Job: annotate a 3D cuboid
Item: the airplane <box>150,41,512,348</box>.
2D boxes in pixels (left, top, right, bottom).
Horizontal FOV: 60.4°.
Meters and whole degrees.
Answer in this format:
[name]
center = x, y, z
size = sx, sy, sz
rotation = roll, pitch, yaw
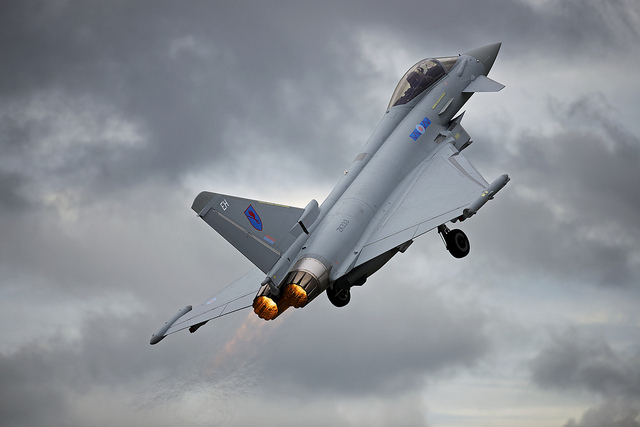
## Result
[airplane]
center = 1.747, -0.874, 17.082
size = 4.255, 10.600, 7.977
rotation = 40, -32, -8
